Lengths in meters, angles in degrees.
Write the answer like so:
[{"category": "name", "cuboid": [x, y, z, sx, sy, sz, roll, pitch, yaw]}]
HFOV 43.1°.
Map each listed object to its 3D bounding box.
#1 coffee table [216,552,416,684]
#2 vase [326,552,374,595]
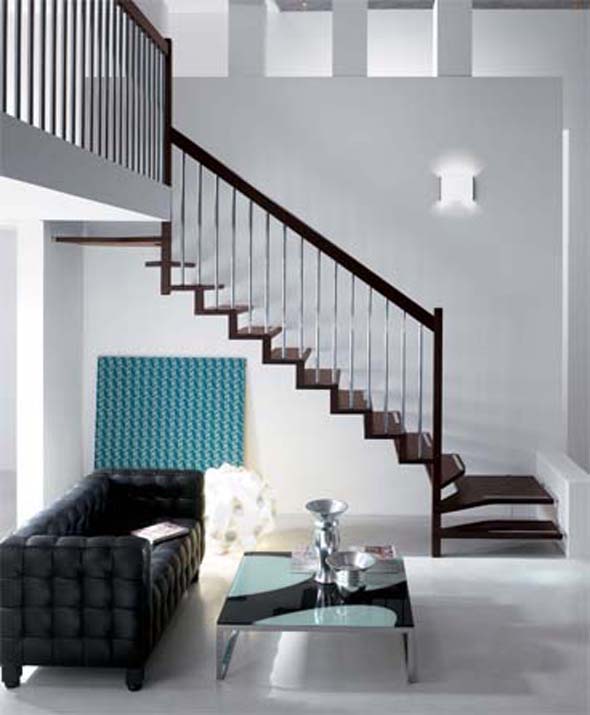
[{"category": "coffee table", "cuboid": [0.108, 1.359, 3.938, 0.996, 0.380, 0.931, 0, 6, 0]}, {"category": "vase", "cuboid": [0.279, 1.095, 3.841, 0.176, 0.130, 0.189, 0, 5, 7]}]
